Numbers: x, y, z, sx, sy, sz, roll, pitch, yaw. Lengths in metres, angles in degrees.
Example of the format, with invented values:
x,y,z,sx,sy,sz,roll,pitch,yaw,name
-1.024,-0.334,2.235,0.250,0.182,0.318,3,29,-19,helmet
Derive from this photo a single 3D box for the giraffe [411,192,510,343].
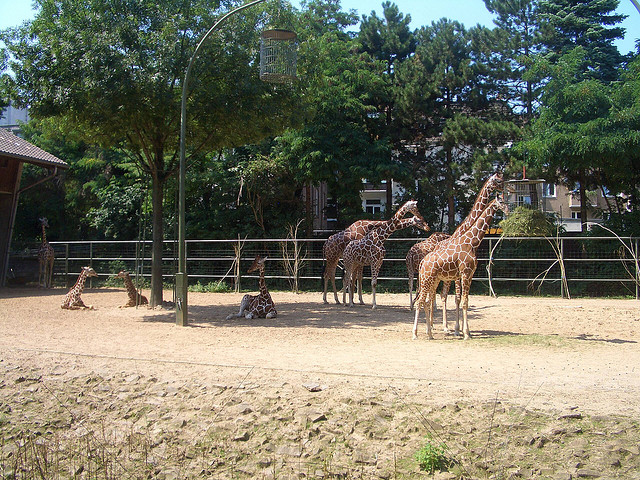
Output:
x,y,z,sx,sy,sz,roll,pitch,yaw,name
2.947,0.587,14.701,1.913,3.060,2.010,0,-6,9,giraffe

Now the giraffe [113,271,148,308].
x,y,z,sx,sy,sz,roll,pitch,yaw,name
-5.193,1.367,19.218,0.726,1.005,0.763,2,-6,-15,giraffe

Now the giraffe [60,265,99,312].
x,y,z,sx,sy,sz,roll,pitch,yaw,name
-7.635,1.554,22.015,1.360,1.805,0.772,1,8,-13,giraffe
